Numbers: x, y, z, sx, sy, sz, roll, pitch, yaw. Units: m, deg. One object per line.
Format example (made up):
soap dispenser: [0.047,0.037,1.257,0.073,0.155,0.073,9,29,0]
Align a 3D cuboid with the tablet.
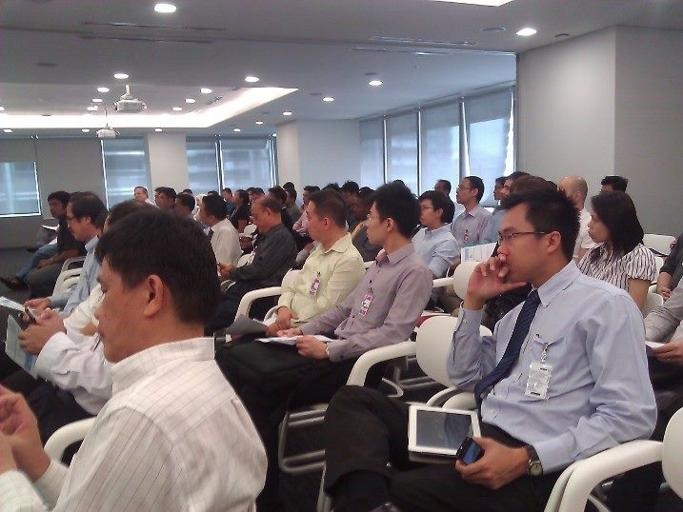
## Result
tablet: [0.357,0.625,1.758,0.261,0.021,0.201,4,36,-9]

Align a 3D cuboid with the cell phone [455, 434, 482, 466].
cell phone: [0.410,0.627,1.582,0.049,0.074,0.076,-7,8,-37]

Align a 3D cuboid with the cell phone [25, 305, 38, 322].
cell phone: [-1.406,0.263,2.238,0.019,0.068,0.072,-11,17,-30]

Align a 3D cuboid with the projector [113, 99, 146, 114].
projector: [-2.841,-1.980,6.537,0.425,0.161,0.323,1,2,-6]
